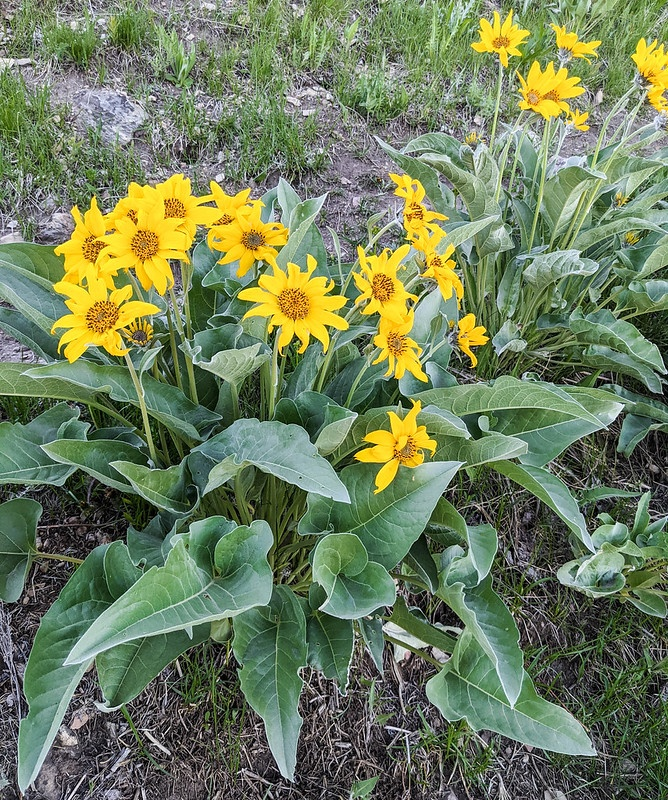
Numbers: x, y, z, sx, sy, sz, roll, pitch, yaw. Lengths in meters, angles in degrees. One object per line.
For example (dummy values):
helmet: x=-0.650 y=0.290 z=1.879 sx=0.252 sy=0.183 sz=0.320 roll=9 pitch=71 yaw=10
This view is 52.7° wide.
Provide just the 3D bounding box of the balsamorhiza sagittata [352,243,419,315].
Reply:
balsamorhiza sagittata: x=0.109 y=-0.253 z=1.529 sx=0.114 sy=0.048 sz=0.112 roll=37 pitch=9 yaw=-45

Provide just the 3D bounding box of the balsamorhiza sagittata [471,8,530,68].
balsamorhiza sagittata: x=0.589 y=-1.299 z=2.395 sx=0.191 sy=0.083 sz=0.188 roll=-2 pitch=11 yaw=-28

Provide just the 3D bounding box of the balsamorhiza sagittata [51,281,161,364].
balsamorhiza sagittata: x=-0.477 y=-0.183 z=1.377 sx=0.221 sy=0.207 sz=0.063 roll=-8 pitch=79 yaw=-25

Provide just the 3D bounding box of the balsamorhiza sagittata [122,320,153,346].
balsamorhiza sagittata: x=-0.511 y=-0.172 z=1.774 sx=0.071 sy=0.021 sz=0.076 roll=-7 pitch=78 yaw=-10

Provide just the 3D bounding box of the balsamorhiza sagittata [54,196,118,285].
balsamorhiza sagittata: x=-0.513 y=-0.322 z=1.463 sx=0.144 sy=0.146 sz=0.048 roll=21 pitch=45 yaw=12

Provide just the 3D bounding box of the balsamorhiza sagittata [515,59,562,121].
balsamorhiza sagittata: x=0.724 y=-1.061 z=2.284 sx=0.206 sy=0.084 sz=0.205 roll=30 pitch=22 yaw=-26

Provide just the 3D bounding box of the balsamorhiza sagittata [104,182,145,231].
balsamorhiza sagittata: x=-0.434 y=-0.423 z=1.452 sx=0.043 sy=0.101 sz=0.107 roll=23 pitch=49 yaw=-45

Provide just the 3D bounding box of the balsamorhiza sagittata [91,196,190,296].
balsamorhiza sagittata: x=-0.389 y=-0.334 z=1.388 sx=0.198 sy=0.203 sz=0.050 roll=8 pitch=64 yaw=-5

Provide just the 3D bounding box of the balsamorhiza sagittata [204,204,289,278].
balsamorhiza sagittata: x=-0.186 y=-0.392 z=1.634 sx=0.183 sy=0.173 sz=0.075 roll=-9 pitch=69 yaw=-13

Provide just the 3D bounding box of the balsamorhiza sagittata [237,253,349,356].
balsamorhiza sagittata: x=-0.088 y=-0.207 z=1.464 sx=0.230 sy=0.162 sz=0.154 roll=8 pitch=37 yaw=-17
